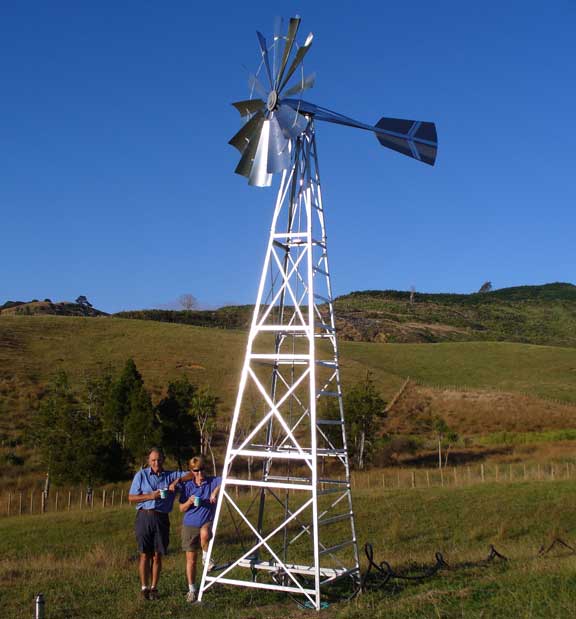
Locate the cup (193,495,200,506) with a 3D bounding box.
[{"bbox_3d":[-1.861,3.971,15.363,0.089,0.196,0.165,-1,4,-1],"label":"cup"}]

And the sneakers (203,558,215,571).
[{"bbox_3d":[-1.640,5.347,15.588,0.136,0.226,0.445,4,-28,-9],"label":"sneakers"}]

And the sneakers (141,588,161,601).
[{"bbox_3d":[-2.713,5.704,14.915,0.160,0.253,0.445,8,-16,-40],"label":"sneakers"}]

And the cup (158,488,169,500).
[{"bbox_3d":[-2.399,3.599,14.501,0.142,0.172,0.137,-3,-5,0],"label":"cup"}]
